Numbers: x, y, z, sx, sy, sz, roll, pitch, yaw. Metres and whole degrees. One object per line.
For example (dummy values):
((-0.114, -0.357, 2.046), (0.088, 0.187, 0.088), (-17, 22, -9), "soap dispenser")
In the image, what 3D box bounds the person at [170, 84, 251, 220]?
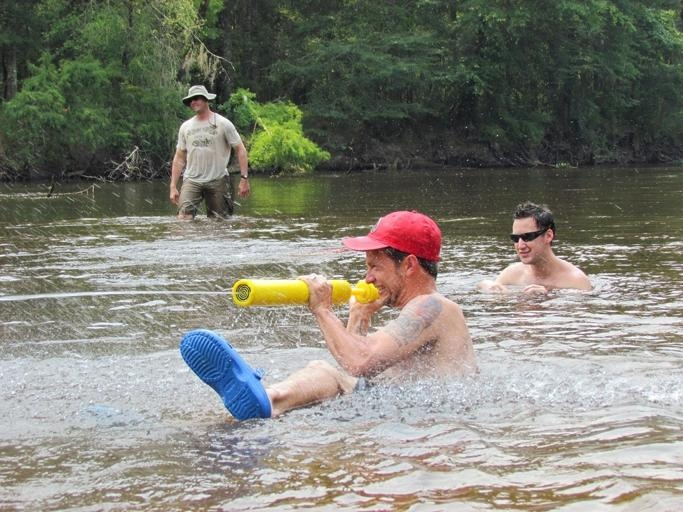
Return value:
((-2.065, -1.562, 15.563), (1.203, 2.149, 1.097), (-2, 14, -8), "person")

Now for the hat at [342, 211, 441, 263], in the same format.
((0.404, -0.188, 8.072), (0.864, 0.415, 0.522), (7, 0, -9), "hat")

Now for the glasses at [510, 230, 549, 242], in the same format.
((1.998, -0.209, 10.842), (0.380, 0.174, 0.122), (5, 15, 17), "glasses")

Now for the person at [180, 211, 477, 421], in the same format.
((-0.036, 0.523, 8.006), (2.219, 1.582, 1.052), (-5, 1, -25), "person")

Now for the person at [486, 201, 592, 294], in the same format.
((2.119, -0.071, 11.013), (0.784, 1.063, 1.309), (-9, 8, -44), "person")
